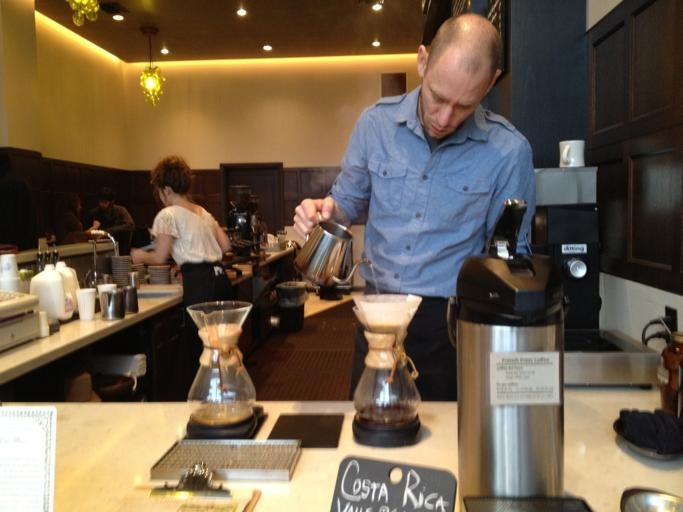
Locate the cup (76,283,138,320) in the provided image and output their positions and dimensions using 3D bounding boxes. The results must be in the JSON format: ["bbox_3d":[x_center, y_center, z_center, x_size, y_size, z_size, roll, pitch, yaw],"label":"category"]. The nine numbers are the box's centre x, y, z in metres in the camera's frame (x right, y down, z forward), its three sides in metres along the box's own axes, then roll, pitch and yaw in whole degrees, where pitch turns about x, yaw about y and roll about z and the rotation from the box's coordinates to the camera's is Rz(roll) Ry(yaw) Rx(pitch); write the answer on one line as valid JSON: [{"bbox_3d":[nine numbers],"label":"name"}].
[{"bbox_3d":[-1.336,0.251,2.986,0.260,0.157,0.177,1,-1,9],"label":"cup"}]

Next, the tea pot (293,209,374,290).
[{"bbox_3d":[-0.032,-0.008,1.770,0.247,0.182,0.159,32,5,3],"label":"tea pot"}]

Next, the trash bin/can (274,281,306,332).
[{"bbox_3d":[-0.562,0.550,6.539,0.406,0.734,0.575,2,3,3],"label":"trash bin/can"}]

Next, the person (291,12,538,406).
[{"bbox_3d":[0.282,-0.099,1.884,0.763,1.320,0.597,0,8,22],"label":"person"}]

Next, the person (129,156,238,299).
[{"bbox_3d":[-1.220,-0.198,3.982,0.711,1.108,0.793,-6,8,-14],"label":"person"}]

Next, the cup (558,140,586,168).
[{"bbox_3d":[1.119,-0.496,2.567,0.113,0.129,0.199,0,9,24],"label":"cup"}]
